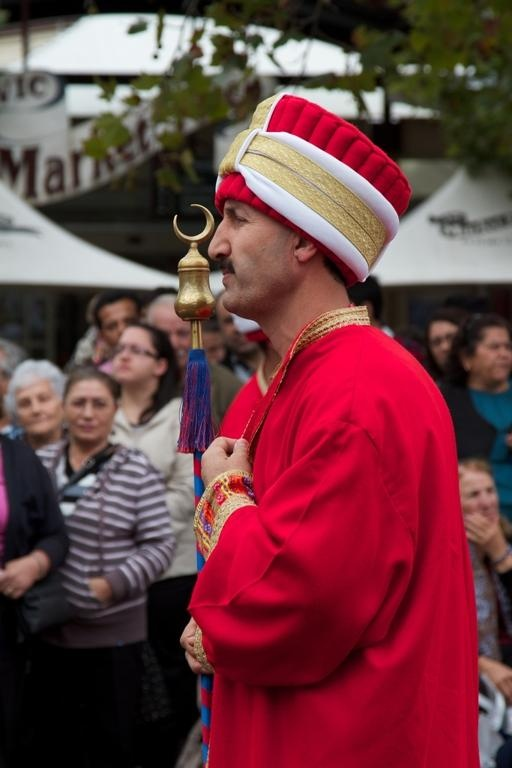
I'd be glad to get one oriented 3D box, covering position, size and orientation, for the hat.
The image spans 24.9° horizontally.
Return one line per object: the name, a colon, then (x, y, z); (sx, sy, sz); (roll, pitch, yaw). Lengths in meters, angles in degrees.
hat: (0.143, -0.470, 2.744); (0.486, 0.318, 0.364); (16, -6, -7)
